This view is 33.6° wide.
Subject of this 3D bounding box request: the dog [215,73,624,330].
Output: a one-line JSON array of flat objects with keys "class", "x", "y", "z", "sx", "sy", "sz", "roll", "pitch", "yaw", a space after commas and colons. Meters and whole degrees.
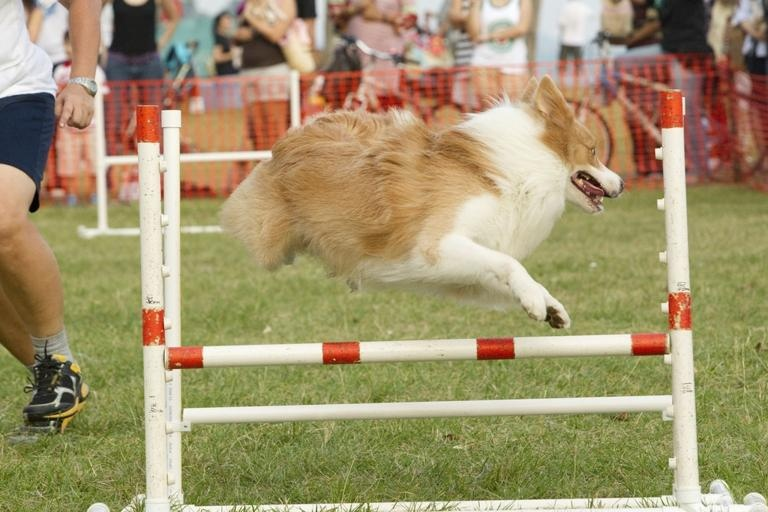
[{"class": "dog", "x": 0.210, "y": -0.404, "z": 8.040, "sx": 2.504, "sy": 1.500, "sz": 0.861, "roll": 6, "pitch": -13, "yaw": 24}]
